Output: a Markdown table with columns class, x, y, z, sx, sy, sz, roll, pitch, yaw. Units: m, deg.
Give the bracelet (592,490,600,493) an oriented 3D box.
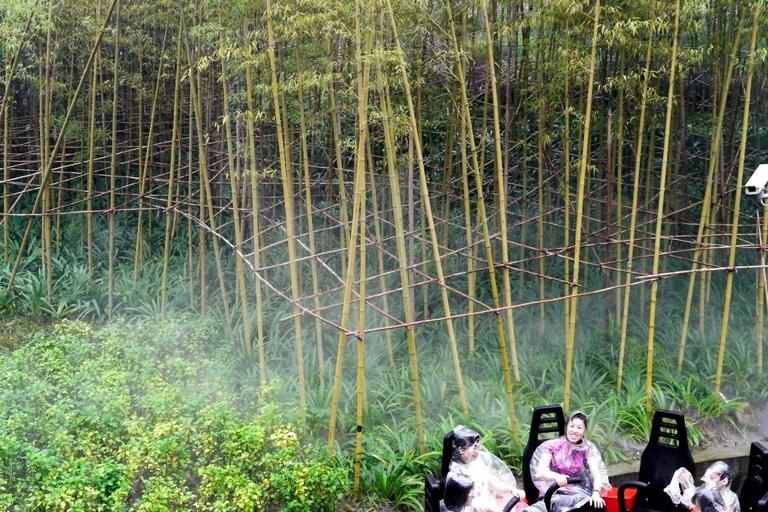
| class | x | y | z | sx | sy | sz | roll | pitch | yaw |
| --- | --- | --- | --- | --- | --- | --- | --- | --- | --- |
| bracelet | 1.570 | 1.739 | 4.760 | 0.031 | 0.008 | 0.033 | -1 | 3 | -7 |
